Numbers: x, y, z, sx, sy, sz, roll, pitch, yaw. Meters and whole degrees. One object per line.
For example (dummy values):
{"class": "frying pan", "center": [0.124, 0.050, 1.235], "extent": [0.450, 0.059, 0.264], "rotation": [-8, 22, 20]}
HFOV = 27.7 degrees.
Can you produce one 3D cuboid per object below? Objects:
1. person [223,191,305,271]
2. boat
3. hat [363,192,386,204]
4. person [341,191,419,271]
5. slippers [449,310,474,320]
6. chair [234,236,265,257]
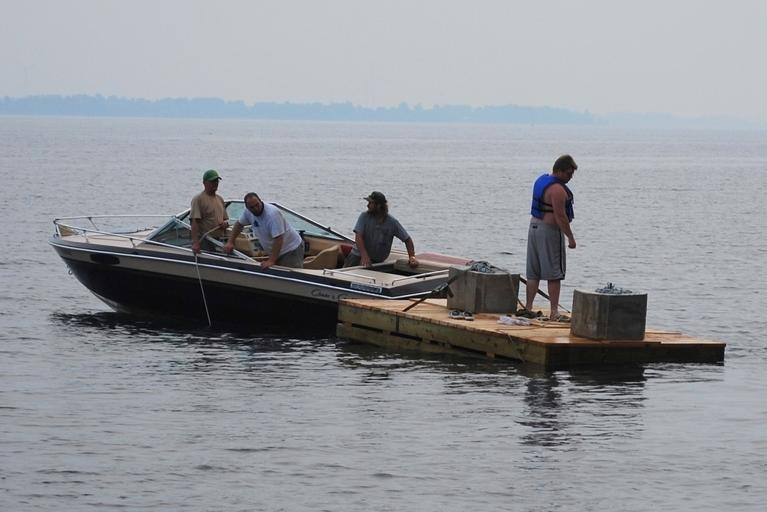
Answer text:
{"class": "person", "center": [-1.895, -0.461, 26.028], "extent": [1.356, 1.225, 0.706], "rotation": [9, 11, -4]}
{"class": "boat", "center": [-2.716, 0.345, 27.253], "extent": [8.878, 1.859, 2.476], "rotation": [4, 5, 20]}
{"class": "hat", "center": [-0.192, -0.988, 26.061], "extent": [0.427, 0.109, 0.230], "rotation": [4, 9, 8]}
{"class": "person", "center": [-0.011, -0.428, 26.371], "extent": [1.055, 1.387, 0.567], "rotation": [10, 12, -2]}
{"class": "slippers", "center": [1.241, 0.921, 24.567], "extent": [0.377, 0.112, 0.323], "rotation": [7, 9, 1]}
{"class": "chair", "center": [-2.275, -0.171, 26.713], "extent": [0.453, 0.284, 0.507], "rotation": [-5, -3, 15]}
